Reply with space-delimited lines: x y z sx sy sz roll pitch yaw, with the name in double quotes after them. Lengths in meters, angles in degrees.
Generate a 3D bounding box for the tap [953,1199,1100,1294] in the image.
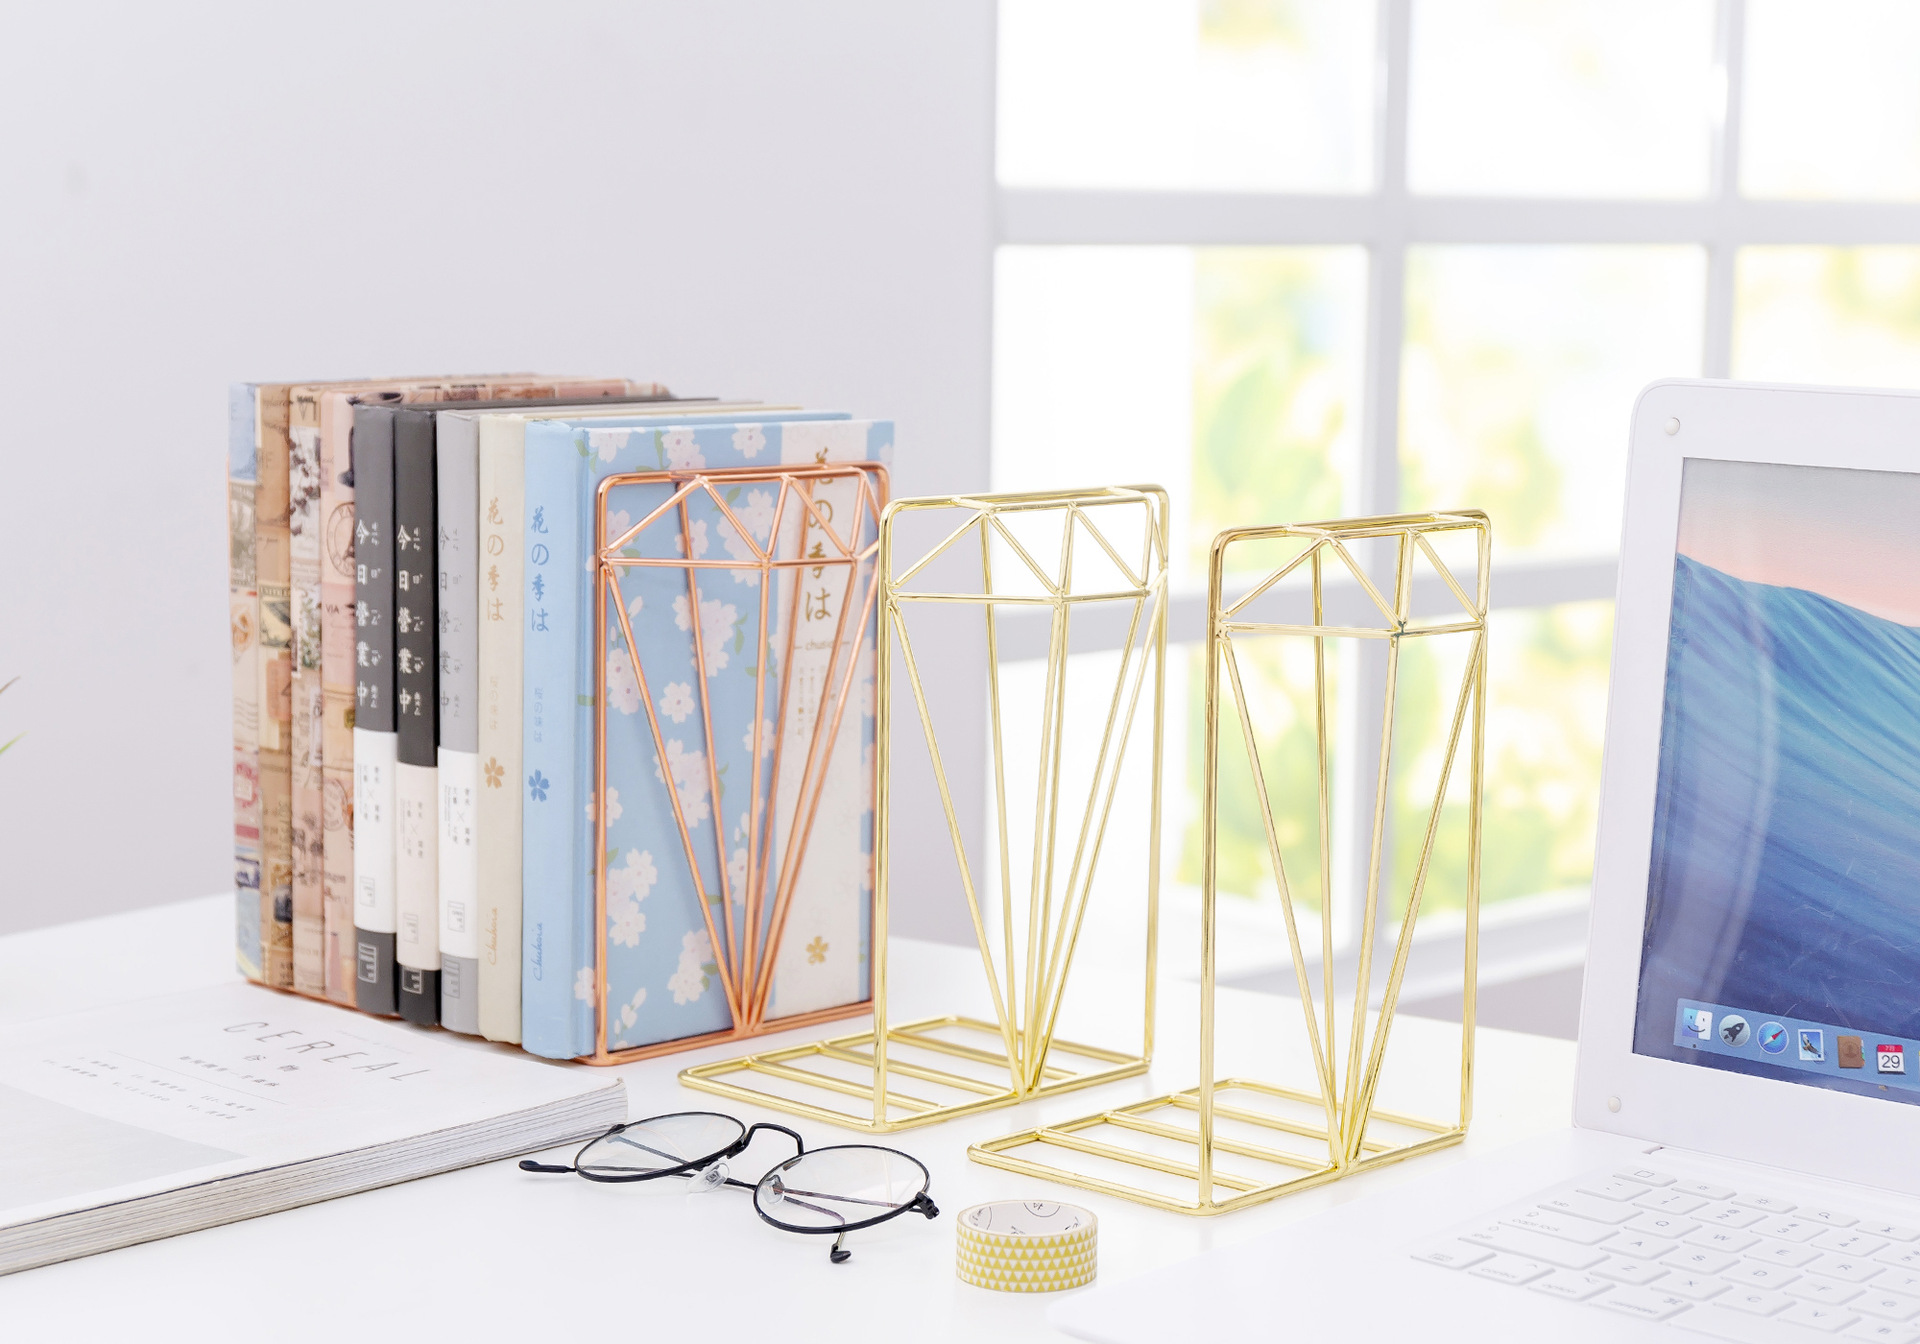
0.028 0.235 0.862 0.059 0.025 0.039 -1 11 0 "tap"

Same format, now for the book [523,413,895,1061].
-0.152 0.035 1.157 0.212 0.299 0.200 0 9 -8 "book"
